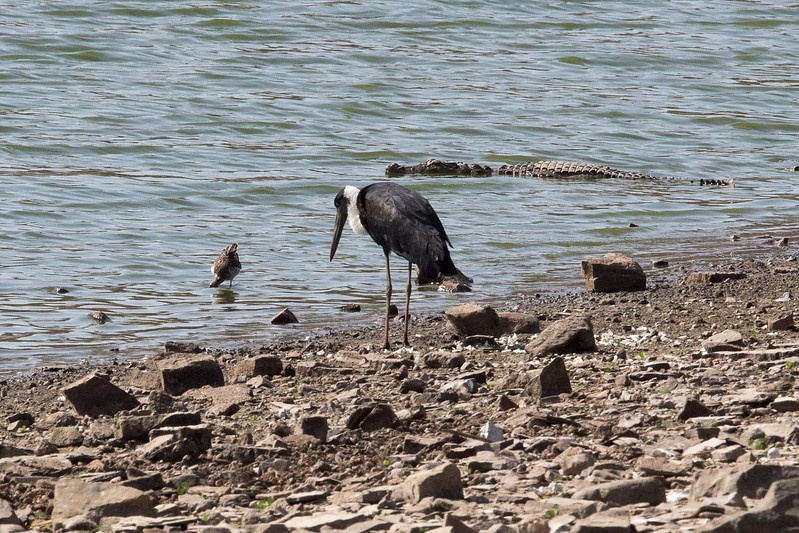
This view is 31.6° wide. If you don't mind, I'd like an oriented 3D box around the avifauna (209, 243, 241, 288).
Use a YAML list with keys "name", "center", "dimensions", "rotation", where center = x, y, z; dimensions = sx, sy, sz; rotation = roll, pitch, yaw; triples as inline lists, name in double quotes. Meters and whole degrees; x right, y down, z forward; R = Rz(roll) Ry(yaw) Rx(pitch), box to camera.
- name: "avifauna"
  center: [-3.617, -0.021, 29.853]
  dimensions: [0.823, 0.865, 0.577]
  rotation: [13, 3, 25]
